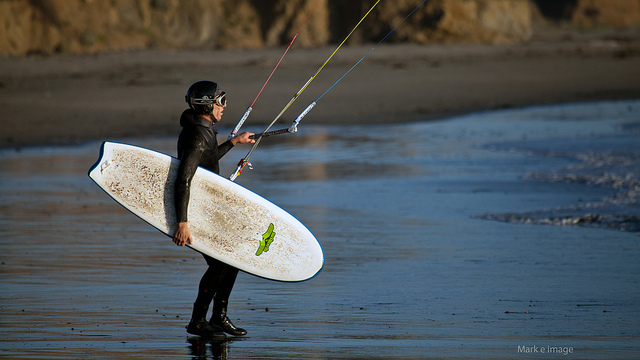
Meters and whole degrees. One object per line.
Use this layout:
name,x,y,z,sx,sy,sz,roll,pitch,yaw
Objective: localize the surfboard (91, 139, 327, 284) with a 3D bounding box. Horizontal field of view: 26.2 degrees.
surfboard,-2.105,0.499,25.952,6.022,0.609,1.553,23,95,2
